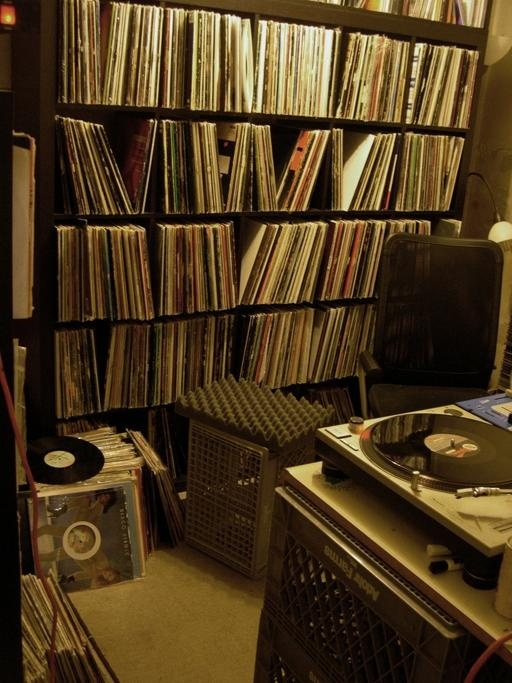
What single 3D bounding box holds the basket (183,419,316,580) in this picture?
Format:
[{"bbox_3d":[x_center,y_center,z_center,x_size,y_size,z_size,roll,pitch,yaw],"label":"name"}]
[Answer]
[{"bbox_3d":[-0.054,0.522,2.127,0.461,0.550,0.469,-6,22,-30],"label":"basket"}]
